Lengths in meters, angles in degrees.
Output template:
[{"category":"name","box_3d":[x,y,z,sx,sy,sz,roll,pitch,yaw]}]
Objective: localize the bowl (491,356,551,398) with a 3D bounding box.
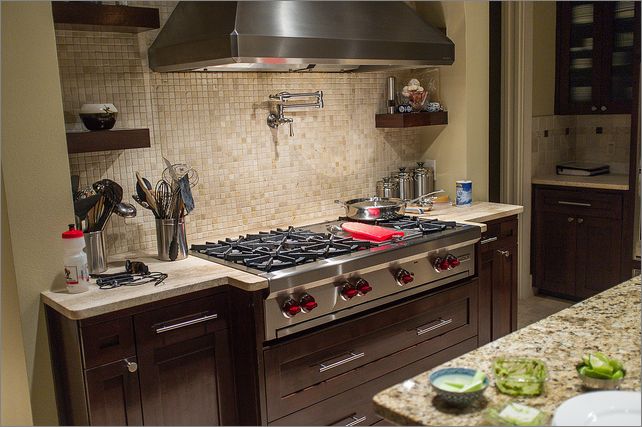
[{"category":"bowl","box_3d":[0.652,0.513,1.631,0.185,0.096,0.184,-2,11,0]}]

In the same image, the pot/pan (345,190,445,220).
[{"category":"pot/pan","box_3d":[0.468,-0.040,3.427,0.570,0.090,0.294,-3,7,6]}]

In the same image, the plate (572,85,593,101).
[{"category":"plate","box_3d":[2.576,-1.191,4.838,0.255,0.162,0.138,10,21,44]}]

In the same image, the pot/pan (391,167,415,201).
[{"category":"pot/pan","box_3d":[0.665,-0.240,3.970,0.197,0.261,0.162,0,13,23]}]

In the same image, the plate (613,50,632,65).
[{"category":"plate","box_3d":[2.796,-1.448,4.552,0.147,0.124,0.015,8,20,41]}]

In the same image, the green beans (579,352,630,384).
[{"category":"green beans","box_3d":[0.919,0.488,1.581,0.130,0.065,0.118,3,10,28]}]

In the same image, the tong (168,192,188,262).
[{"category":"tong","box_3d":[-0.809,0.073,2.756,0.065,0.387,0.088,4,1,39]}]

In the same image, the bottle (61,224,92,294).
[{"category":"bottle","box_3d":[-1.195,0.220,2.378,0.128,0.316,0.121,-4,4,0]}]

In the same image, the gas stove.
[{"category":"gas stove","box_3d":[0.055,0.225,2.845,1.283,0.339,0.729,-10,12,-42]}]

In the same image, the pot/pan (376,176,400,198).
[{"category":"pot/pan","box_3d":[0.529,-0.215,3.836,0.183,0.182,0.173,-4,9,-18]}]

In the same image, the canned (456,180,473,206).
[{"category":"canned","box_3d":[1.097,-0.159,3.749,0.110,0.188,0.052,-4,15,1]}]

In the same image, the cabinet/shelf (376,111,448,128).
[{"category":"cabinet/shelf","box_3d":[0.737,-0.750,3.893,0.576,0.129,0.251,-11,15,-28]}]

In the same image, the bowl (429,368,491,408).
[{"category":"bowl","box_3d":[0.448,0.529,1.605,0.202,0.091,0.204,-1,8,0]}]

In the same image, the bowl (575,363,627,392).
[{"category":"bowl","box_3d":[0.892,0.541,1.571,0.127,0.062,0.062,4,16,28]}]

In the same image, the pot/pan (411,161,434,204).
[{"category":"pot/pan","box_3d":[0.842,-0.266,4.068,0.286,0.328,0.202,-4,14,2]}]

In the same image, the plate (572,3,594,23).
[{"category":"plate","box_3d":[2.522,-1.927,4.737,0.190,0.118,0.177,-1,12,4]}]
